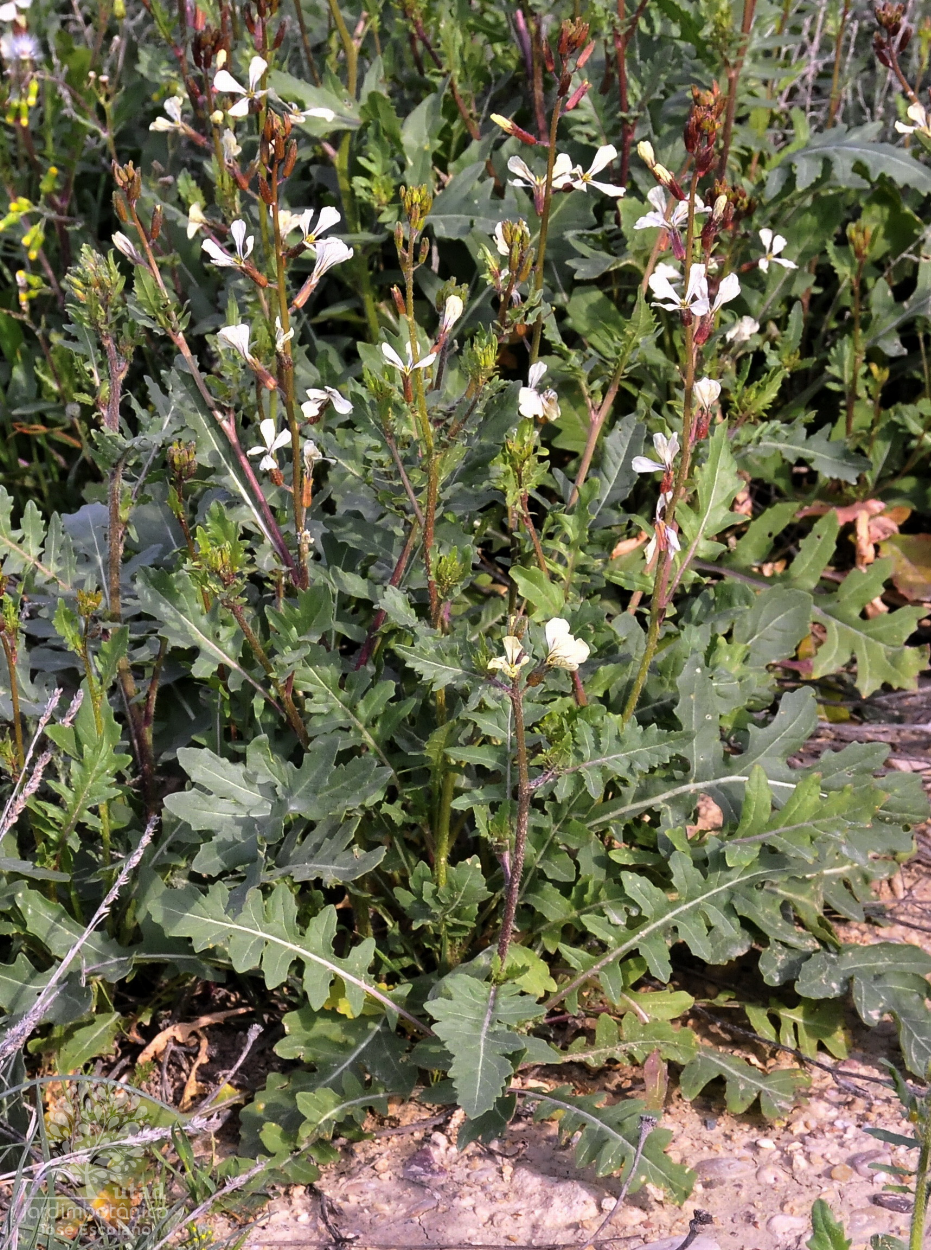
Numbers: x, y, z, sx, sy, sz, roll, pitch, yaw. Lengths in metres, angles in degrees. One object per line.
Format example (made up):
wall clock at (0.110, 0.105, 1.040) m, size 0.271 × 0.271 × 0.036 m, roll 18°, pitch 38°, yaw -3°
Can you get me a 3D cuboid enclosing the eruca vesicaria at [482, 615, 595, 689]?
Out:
eruca vesicaria at (0.084, 0.028, 1.372) m, size 0.122 × 0.081 × 0.046 m, roll -15°, pitch 26°, yaw -12°
